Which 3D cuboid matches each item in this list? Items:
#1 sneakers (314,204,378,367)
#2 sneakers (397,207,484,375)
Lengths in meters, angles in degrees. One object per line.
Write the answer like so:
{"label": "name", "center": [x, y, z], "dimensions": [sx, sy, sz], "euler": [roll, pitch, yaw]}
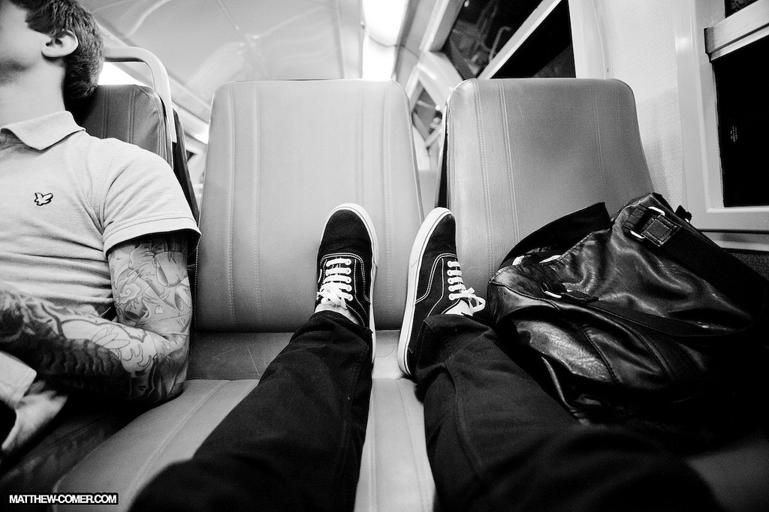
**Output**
{"label": "sneakers", "center": [-0.102, 0.083, 1.391], "dimensions": [0.157, 0.495, 0.179], "euler": [1, -5, 3]}
{"label": "sneakers", "center": [0.187, 0.077, 1.416], "dimensions": [0.186, 0.562, 0.216], "euler": [17, -12, -32]}
